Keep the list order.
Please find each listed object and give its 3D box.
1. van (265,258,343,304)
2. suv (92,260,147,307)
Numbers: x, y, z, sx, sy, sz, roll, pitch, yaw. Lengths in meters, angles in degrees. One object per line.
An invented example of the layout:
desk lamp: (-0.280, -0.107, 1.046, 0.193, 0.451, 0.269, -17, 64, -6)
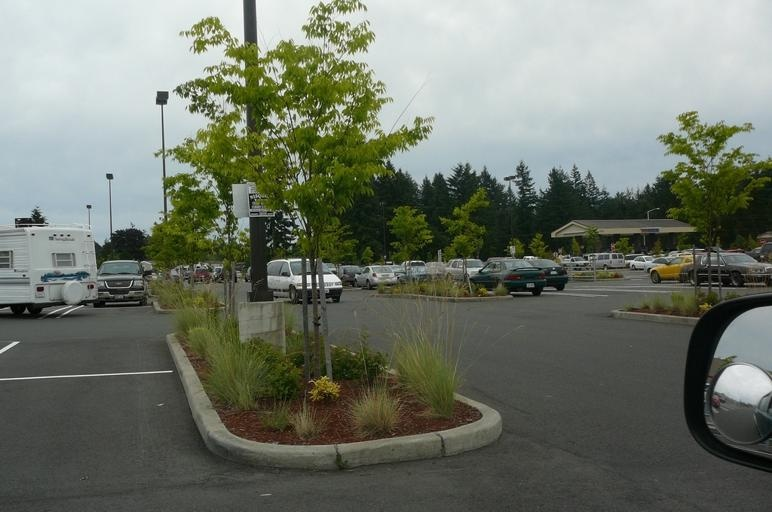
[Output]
van: (-3.619, 0.986, 29.471, 1.996, 1.705, 3.978, 0, -6, -29)
suv: (-11.531, 1.226, 30.744, 1.356, 1.369, 2.893, 0, -8, -10)
